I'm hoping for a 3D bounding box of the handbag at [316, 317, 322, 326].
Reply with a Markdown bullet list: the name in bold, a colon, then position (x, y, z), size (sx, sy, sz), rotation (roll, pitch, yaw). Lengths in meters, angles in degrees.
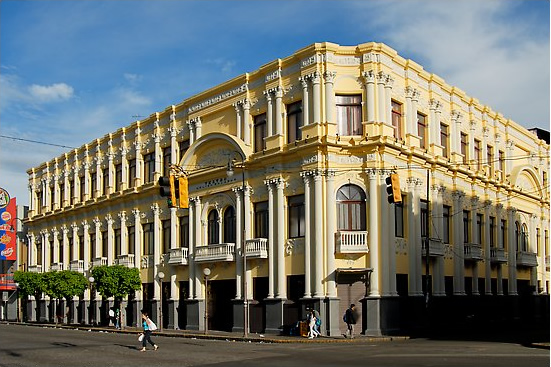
- **handbag**: position (3.597, 11.833, 92.452), size (0.716, 0.568, 0.510), rotation (5, -10, -11)
